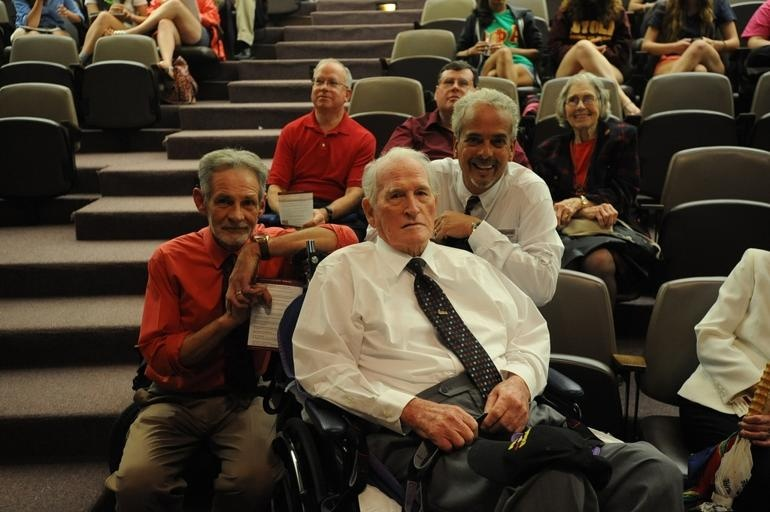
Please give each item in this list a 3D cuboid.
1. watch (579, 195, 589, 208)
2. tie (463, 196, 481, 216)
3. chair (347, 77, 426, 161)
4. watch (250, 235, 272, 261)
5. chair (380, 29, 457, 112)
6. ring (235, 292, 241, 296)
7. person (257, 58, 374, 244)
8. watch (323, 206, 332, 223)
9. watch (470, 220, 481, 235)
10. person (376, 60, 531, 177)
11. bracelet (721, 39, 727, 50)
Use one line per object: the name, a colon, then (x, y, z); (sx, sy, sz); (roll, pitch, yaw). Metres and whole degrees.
watch: (1.293, -0.359, 4.525); (0.050, 0.070, 0.016); (-11, -23, -15)
tie: (0.493, -0.295, 3.924); (0.060, 0.118, 0.029); (28, 5, 12)
chair: (0.029, -1.129, 5.586); (0.622, 0.785, 0.618); (0, -4, 4)
watch: (-0.630, -0.036, 3.599); (0.078, 0.117, 0.121); (1, 43, -25)
chair: (0.300, -1.824, 6.545); (0.715, 1.135, 0.920); (1, 7, 9)
ring: (-0.721, 0.186, 3.404); (0.022, 0.006, 0.023); (5, 12, -1)
person: (-0.459, -0.672, 4.605); (0.891, 1.258, 0.872); (-2, 17, -27)
watch: (-0.355, -0.271, 4.420); (0.056, 0.092, 0.078); (-8, 9, -44)
watch: (0.482, -0.160, 3.707); (0.038, 0.059, 0.018); (10, -10, 46)
person: (0.473, -0.915, 5.002); (1.251, 0.962, 0.435); (10, -3, 5)
bracelet: (3.142, -1.973, 6.429); (0.047, 0.077, 0.189); (8, 15, 30)
